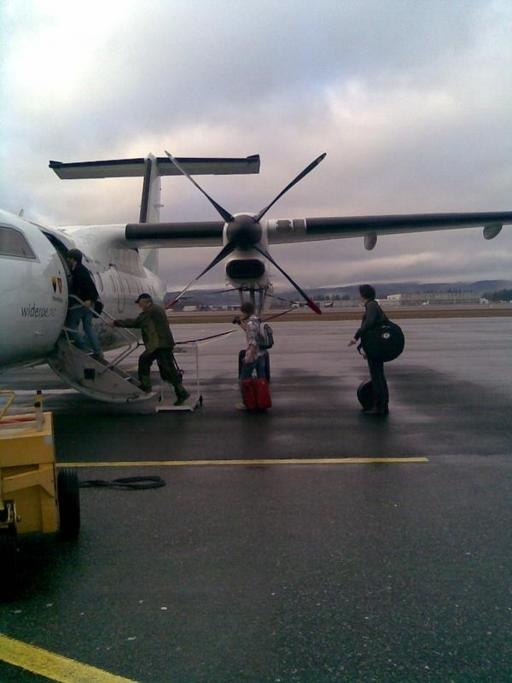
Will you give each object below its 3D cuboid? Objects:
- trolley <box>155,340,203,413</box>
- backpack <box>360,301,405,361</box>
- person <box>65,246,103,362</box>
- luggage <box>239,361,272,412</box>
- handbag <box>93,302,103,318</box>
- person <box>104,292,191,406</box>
[{"bbox_3d":[-1.321,0.669,9.913,0.904,0.902,0.736,7,-15,-3],"label":"trolley"},{"bbox_3d":[1.750,-0.063,7.791,0.583,0.649,0.272,-5,6,-20],"label":"backpack"},{"bbox_3d":[-2.498,-0.500,8.091,0.502,1.666,0.758,-5,6,-15],"label":"person"},{"bbox_3d":[-0.016,0.648,8.429,0.418,0.802,0.737,-3,6,0],"label":"luggage"},{"bbox_3d":[-2.365,-0.486,8.413,0.198,0.248,0.230,1,1,-8],"label":"handbag"},{"bbox_3d":[-1.520,0.144,8.507,0.835,1.749,0.839,-3,6,0],"label":"person"}]
